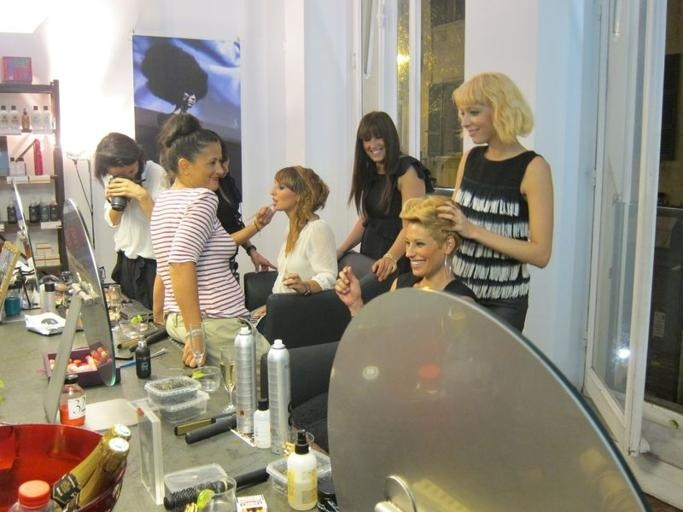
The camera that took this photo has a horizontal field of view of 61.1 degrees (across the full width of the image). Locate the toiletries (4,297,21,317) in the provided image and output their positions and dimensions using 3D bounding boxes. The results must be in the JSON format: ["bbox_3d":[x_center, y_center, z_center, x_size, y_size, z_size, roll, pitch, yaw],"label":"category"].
[{"bbox_3d":[-1.566,0.243,2.749,0.079,0.092,0.066,3,-2,-24],"label":"toiletries"}]

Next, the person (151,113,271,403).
[{"bbox_3d":[-0.536,0.183,2.449,0.472,1.493,0.566,-6,12,-26],"label":"person"}]

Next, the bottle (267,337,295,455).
[{"bbox_3d":[-0.163,0.358,1.512,0.061,0.273,0.180,-4,10,-7],"label":"bottle"}]

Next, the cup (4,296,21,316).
[{"bbox_3d":[-1.568,0.241,2.792,0.072,0.107,0.076,0,0,0],"label":"cup"}]

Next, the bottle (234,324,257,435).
[{"bbox_3d":[-0.271,0.332,1.622,0.067,0.271,0.187,-4,10,-10],"label":"bottle"}]

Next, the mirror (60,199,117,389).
[{"bbox_3d":[-1.003,0.114,2.293,0.088,0.699,0.663,-12,52,-24],"label":"mirror"}]

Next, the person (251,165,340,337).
[{"bbox_3d":[-0.210,0.063,3.592,0.626,1.254,0.968,1,-4,-12],"label":"person"}]

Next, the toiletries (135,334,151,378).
[{"bbox_3d":[-0.663,0.341,1.929,0.054,0.128,0.058,-1,15,-16],"label":"toiletries"}]

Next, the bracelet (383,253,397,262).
[{"bbox_3d":[0.262,0.003,3.154,0.020,0.050,0.038,-44,13,-6],"label":"bracelet"}]

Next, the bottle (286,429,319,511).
[{"bbox_3d":[-0.092,0.478,1.304,0.067,0.152,0.088,-5,10,-15],"label":"bottle"}]

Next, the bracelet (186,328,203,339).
[{"bbox_3d":[-0.499,0.250,1.941,0.035,0.040,0.039,1,5,1],"label":"bracelet"}]

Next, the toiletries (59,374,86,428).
[{"bbox_3d":[-0.754,0.403,1.616,0.070,0.142,0.074,4,5,28],"label":"toiletries"}]

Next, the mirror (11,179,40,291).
[{"bbox_3d":[-1.598,-0.098,2.929,0.036,0.585,0.542,1,-11,-41],"label":"mirror"}]

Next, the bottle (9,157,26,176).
[{"bbox_3d":[-2.976,-0.818,5.304,0.134,0.162,0.220,-8,11,-28],"label":"bottle"}]

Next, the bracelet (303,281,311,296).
[{"bbox_3d":[-0.184,0.164,3.104,0.034,0.061,0.052,3,-20,-29],"label":"bracelet"}]

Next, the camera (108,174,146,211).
[{"bbox_3d":[-1.292,-0.402,3.468,0.220,0.286,0.111,1,-9,10],"label":"camera"}]

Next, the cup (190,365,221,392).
[{"bbox_3d":[-0.430,0.374,1.818,0.071,0.062,0.076,0,3,0],"label":"cup"}]

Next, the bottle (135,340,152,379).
[{"bbox_3d":[-0.673,0.341,1.949,0.050,0.122,0.106,-6,10,-21],"label":"bottle"}]

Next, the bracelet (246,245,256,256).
[{"bbox_3d":[-0.599,-0.039,3.820,0.052,0.042,0.059,-21,14,35],"label":"bracelet"}]

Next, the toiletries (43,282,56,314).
[{"bbox_3d":[-1.438,0.201,2.836,0.061,0.144,0.088,-9,11,-32],"label":"toiletries"}]

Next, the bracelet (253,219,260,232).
[{"bbox_3d":[-0.486,-0.184,3.361,0.043,0.057,0.048,0,0,-33],"label":"bracelet"}]
